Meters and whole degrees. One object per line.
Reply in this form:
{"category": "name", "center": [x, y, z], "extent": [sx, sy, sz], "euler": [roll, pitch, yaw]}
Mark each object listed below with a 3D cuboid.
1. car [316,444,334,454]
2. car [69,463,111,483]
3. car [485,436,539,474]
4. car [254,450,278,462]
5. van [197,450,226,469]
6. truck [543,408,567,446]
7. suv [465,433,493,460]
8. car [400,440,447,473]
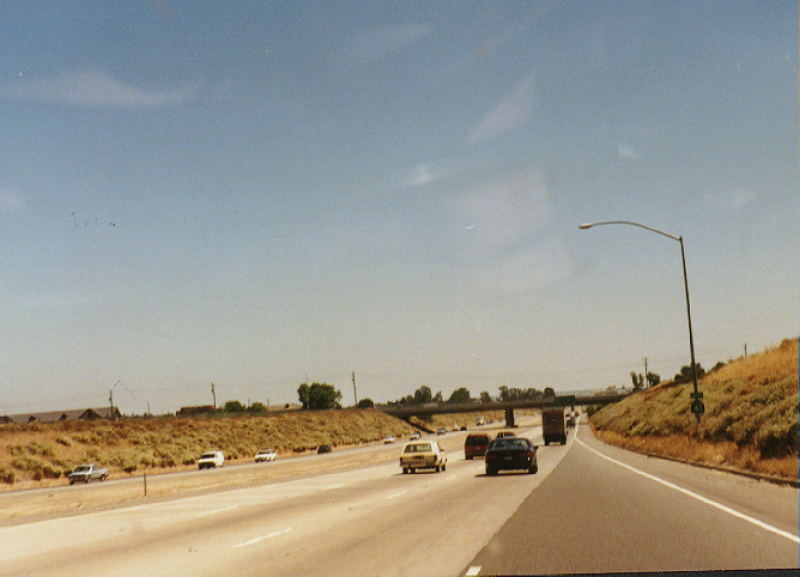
{"category": "car", "center": [-9.842, 20.896, 91.567], "extent": [1.560, 1.167, 2.275], "euler": [-2, -4, 0]}
{"category": "car", "center": [-23.800, 14.245, 54.127], "extent": [1.283, 1.232, 2.619], "euler": [-2, -13, 9]}
{"category": "car", "center": [5.424, 8.137, 34.525], "extent": [1.252, 1.116, 3.035], "euler": [0, 0, 12]}
{"category": "car", "center": [-14.149, 17.609, 73.759], "extent": [2.123, 0.923, 1.382], "euler": [5, -6, -5]}
{"category": "van", "center": [-17.441, 15.876, 65.095], "extent": [2.331, 1.457, 1.466], "euler": [3, -7, -3]}
{"category": "truck", "center": [15.326, 13.864, 70.251], "extent": [2.231, 3.696, 3.553], "euler": [4, -5, 7]}
{"category": "suv", "center": [6.030, 12.844, 55.526], "extent": [1.973, 2.262, 4.052], "euler": [-1, 0, 6]}
{"category": "car", "center": [1.273, 9.453, 39.194], "extent": [2.371, 1.757, 1.647], "euler": [7, -5, -9]}
